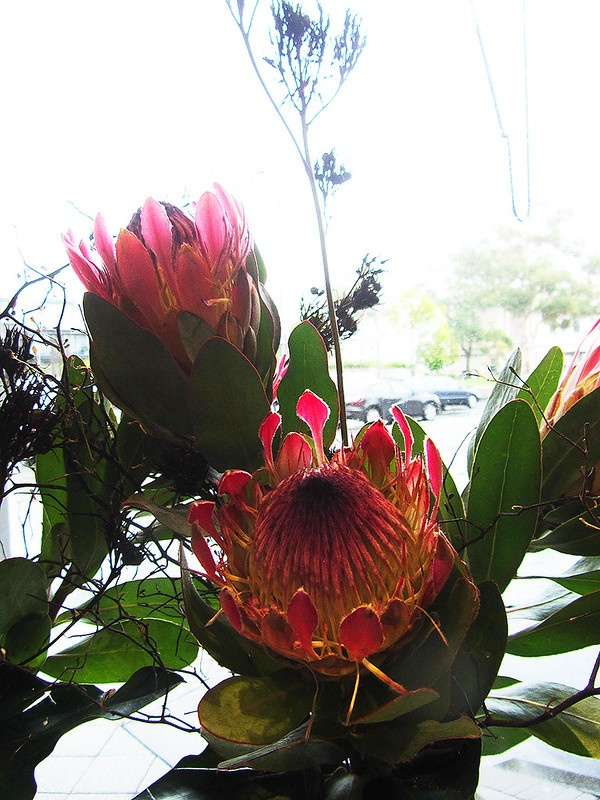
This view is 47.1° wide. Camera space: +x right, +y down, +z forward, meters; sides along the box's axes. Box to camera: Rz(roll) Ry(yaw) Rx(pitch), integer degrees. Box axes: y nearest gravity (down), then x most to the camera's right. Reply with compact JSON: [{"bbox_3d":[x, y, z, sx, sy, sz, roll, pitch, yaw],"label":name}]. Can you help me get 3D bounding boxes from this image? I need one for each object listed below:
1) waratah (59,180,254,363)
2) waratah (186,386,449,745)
[{"bbox_3d":[-0.056,-0.060,0.357,0.074,0.083,0.079,-10,-7,-5],"label":"waratah"},{"bbox_3d":[0.012,0.066,0.303,0.110,0.085,0.129,10,45,17],"label":"waratah"}]
